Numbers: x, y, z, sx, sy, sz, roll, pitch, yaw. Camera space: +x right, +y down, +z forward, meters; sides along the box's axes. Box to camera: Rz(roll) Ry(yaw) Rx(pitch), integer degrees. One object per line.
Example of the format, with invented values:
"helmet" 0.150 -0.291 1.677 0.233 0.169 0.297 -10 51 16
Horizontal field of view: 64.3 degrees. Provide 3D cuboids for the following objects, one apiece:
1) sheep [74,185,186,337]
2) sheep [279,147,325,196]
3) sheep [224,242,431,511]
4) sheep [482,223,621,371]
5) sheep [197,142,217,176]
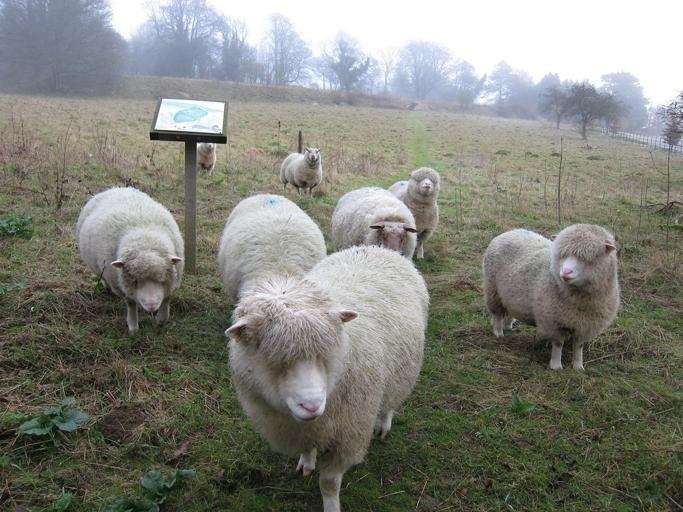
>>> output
"sheep" -3.006 -0.007 7.903 1.366 1.726 2.788 -10 26 -34
"sheep" -1.002 -2.249 14.247 0.718 1.173 1.564 -3 16 -25
"sheep" -0.169 0.848 5.876 1.468 2.046 2.728 6 19 26
"sheep" 2.879 0.472 7.494 1.076 2.024 2.667 -4 7 -7
"sheep" -3.575 -2.610 14.449 0.452 0.758 0.867 -1 15 -16
